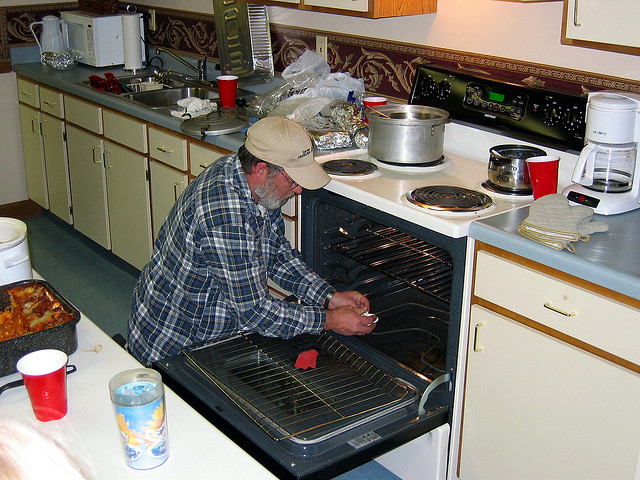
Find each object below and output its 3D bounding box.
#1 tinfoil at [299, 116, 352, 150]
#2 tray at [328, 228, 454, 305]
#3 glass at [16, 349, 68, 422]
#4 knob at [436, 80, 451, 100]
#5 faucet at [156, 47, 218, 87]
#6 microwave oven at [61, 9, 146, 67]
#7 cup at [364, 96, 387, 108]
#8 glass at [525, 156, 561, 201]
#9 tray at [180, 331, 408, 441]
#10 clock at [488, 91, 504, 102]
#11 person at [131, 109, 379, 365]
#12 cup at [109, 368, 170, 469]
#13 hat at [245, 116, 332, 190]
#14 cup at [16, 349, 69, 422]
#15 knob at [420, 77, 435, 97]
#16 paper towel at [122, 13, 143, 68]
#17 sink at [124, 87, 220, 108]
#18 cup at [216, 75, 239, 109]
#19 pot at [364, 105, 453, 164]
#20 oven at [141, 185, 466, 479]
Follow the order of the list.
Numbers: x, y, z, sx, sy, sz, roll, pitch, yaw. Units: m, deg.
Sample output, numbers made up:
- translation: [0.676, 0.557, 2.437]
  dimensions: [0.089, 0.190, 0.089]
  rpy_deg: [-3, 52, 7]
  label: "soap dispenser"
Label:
- translation: [0.028, -0.518, 2.286]
  dimensions: [0.204, 0.072, 0.299]
  rpy_deg: [-11, 26, -21]
  label: "tinfoil"
- translation: [0.342, 0.090, 2.028]
  dimensions: [0.307, 0.021, 0.658]
  rpy_deg: [-19, 33, -39]
  label: "tray"
- translation: [-0.543, 0.293, 0.953]
  dimensions: [0.099, 0.140, 0.084]
  rpy_deg: [20, 32, 36]
  label: "glass"
- translation: [0.589, -0.717, 2.261]
  dimensions: [0.033, 0.084, 0.074]
  rpy_deg: [-13, 28, -25]
  label: "knob"
- translation: [-1.030, -1.340, 3.631]
  dimensions: [0.624, 0.201, 0.186]
  rpy_deg: [20, 35, 28]
  label: "faucet"
- translation: [-1.731, -1.609, 4.031]
  dimensions: [0.603, 0.433, 0.738]
  rpy_deg: [-15, 29, -35]
  label: "microwave oven"
- translation: [0.271, -0.680, 2.319]
  dimensions: [0.139, 0.067, 0.122]
  rpy_deg: [6, 23, 12]
  label: "cup"
- translation: [0.794, -0.235, 1.684]
  dimensions: [0.139, 0.143, 0.118]
  rpy_deg: [2, -11, -6]
  label: "glass"
- translation: [-0.103, 0.478, 1.653]
  dimensions: [0.411, 0.071, 0.398]
  rpy_deg: [-10, 26, -33]
  label: "tray"
- translation: [0.781, -0.637, 2.102]
  dimensions: [0.079, 0.044, 0.019]
  rpy_deg: [19, 17, 40]
  label: "clock"
- translation: [-0.270, 0.015, 1.728]
  dimensions: [0.890, 0.892, 0.444]
  rpy_deg: [-9, 27, -20]
  label: "person"
- translation: [-0.325, 0.335, 0.879]
  dimensions: [0.104, 0.143, 0.098]
  rpy_deg: [-3, 12, 1]
  label: "cup"
- translation: [-0.089, -0.330, 1.635]
  dimensions: [0.356, 0.157, 0.219]
  rpy_deg: [32, 41, 15]
  label: "hat"
- translation: [-0.534, 0.285, 0.974]
  dimensions: [0.109, 0.125, 0.136]
  rpy_deg: [-8, 27, -25]
  label: "cup"
- translation: [0.528, -0.750, 2.321]
  dimensions: [0.071, 0.076, 0.026]
  rpy_deg: [11, 3, 36]
  label: "knob"
- translation: [-1.497, -1.599, 3.800]
  dimensions: [0.148, 0.397, 0.208]
  rpy_deg: [3, 26, 6]
  label: "paper towel"
- translation: [-1.021, -0.996, 3.301]
  dimensions: [0.285, 0.119, 0.339]
  rpy_deg: [-16, 29, -30]
  label: "sink"
- translation: [-0.547, -0.888, 2.833]
  dimensions: [0.104, 0.178, 0.212]
  rpy_deg: [-5, 24, -10]
  label: "cup"
- translation: [0.362, -0.463, 2.066]
  dimensions: [0.467, 0.178, 0.346]
  rpy_deg: [19, 28, 36]
  label: "pot"
- translation: [0.138, 0.370, 1.804]
  dimensions: [1.162, 0.596, 0.998]
  rpy_deg: [-19, 34, -33]
  label: "oven"
